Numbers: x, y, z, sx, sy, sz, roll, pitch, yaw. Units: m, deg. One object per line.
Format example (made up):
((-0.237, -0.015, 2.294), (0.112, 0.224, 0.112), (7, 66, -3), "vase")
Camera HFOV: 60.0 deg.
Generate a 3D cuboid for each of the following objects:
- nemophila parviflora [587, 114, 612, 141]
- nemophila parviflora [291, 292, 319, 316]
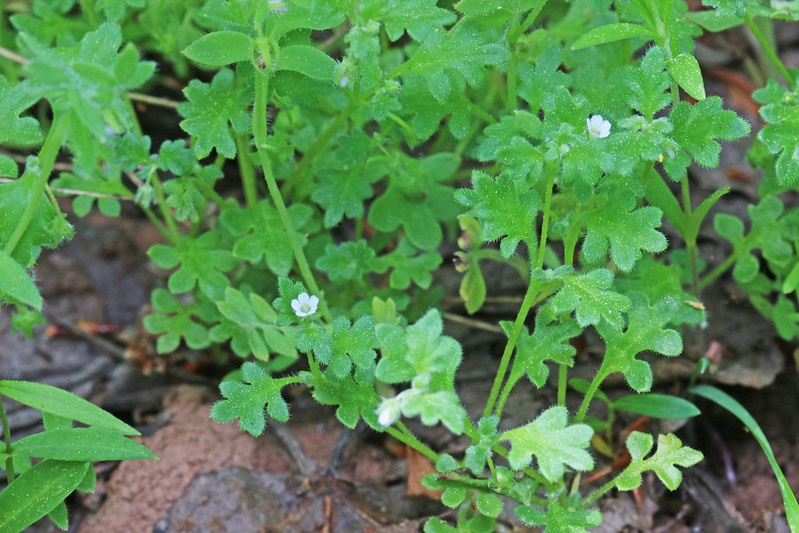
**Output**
((0.934, -0.635, 3.203), (0.108, 0.060, 0.133), (-5, 79, -13), "nemophila parviflora")
((-0.449, 0.184, 3.240), (0.127, 0.095, 0.097), (-7, 59, -11), "nemophila parviflora")
